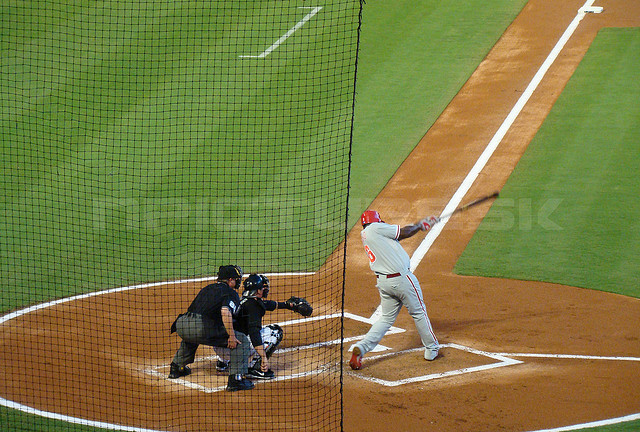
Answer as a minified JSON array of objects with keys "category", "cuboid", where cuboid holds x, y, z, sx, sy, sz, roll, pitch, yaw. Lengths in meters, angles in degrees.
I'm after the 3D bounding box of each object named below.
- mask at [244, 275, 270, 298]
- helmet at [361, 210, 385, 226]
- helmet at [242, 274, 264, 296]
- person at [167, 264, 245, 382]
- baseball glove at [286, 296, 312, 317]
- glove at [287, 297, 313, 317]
[{"category":"mask","cuboid":[-1.187,1.409,20.744,0.449,0.463,0.396,-6,10,-26]},{"category":"helmet","cuboid":[1.082,0.056,21.115,0.379,0.185,0.241,-6,2,-24]},{"category":"helmet","cuboid":[-1.284,1.400,20.537,0.414,0.428,0.237,-2,21,-3]},{"category":"person","cuboid":[-2.235,2.137,20.458,1.443,2.129,0.965,-2,21,-2]},{"category":"baseball glove","cuboid":[-0.371,1.829,20.802,0.509,0.281,0.175,23,-5,-10]},{"category":"glove","cuboid":[-0.381,1.820,20.800,0.471,0.308,0.175,19,4,-6]}]
